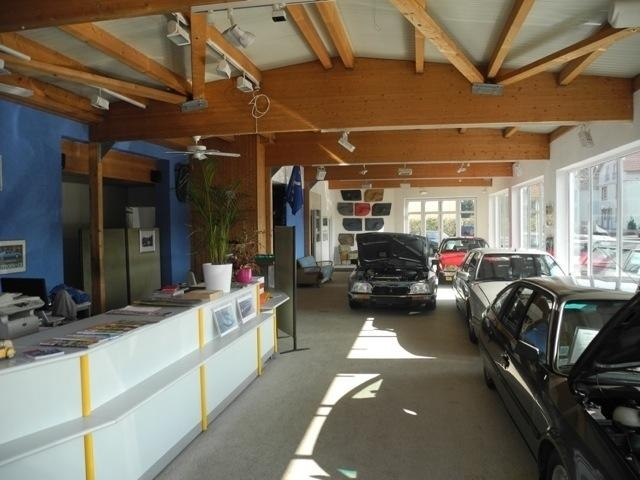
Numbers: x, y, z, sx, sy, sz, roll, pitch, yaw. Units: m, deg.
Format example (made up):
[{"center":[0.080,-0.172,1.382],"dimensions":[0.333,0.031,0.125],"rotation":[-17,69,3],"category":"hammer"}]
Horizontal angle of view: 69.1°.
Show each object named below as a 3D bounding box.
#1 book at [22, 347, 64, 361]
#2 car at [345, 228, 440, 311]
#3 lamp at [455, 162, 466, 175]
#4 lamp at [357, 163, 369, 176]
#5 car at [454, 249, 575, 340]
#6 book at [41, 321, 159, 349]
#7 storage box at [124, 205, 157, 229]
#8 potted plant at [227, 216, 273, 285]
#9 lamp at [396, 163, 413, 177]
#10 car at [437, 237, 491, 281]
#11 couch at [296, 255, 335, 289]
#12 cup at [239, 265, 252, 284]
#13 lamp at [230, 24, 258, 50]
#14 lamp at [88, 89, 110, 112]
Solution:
[{"center":[-1.944,0.783,3.226],"dimensions":[0.321,0.021,0.200],"rotation":[2,6,30],"category":"book"},{"center":[1.340,0.624,8.656],"dimensions":[1.571,1.464,1.356],"rotation":[0,6,8],"category":"car"},{"center":[4.012,-1.988,13.097],"dimensions":[0.216,0.125,0.335],"rotation":[-1,-32,7],"category":"lamp"},{"center":[1.161,-1.898,12.574],"dimensions":[0.205,0.305,0.123],"rotation":[4,-2,36],"category":"lamp"},{"center":[2.654,0.664,6.769],"dimensions":[1.085,0.754,2.232],"rotation":[-1,-4,7],"category":"car"},{"center":[-1.743,0.724,3.626],"dimensions":[0.486,0.048,0.706],"rotation":[2,6,27],"category":"book"},{"center":[-3.365,-0.467,8.746],"dimensions":[0.387,0.484,0.708],"rotation":[3,3,28],"category":"storage box"},{"center":[-0.946,0.244,5.707],"dimensions":[0.397,0.560,0.388],"rotation":[1,2,-21],"category":"potted plant"},{"center":[2.015,-1.732,11.517],"dimensions":[0.526,0.185,0.518],"rotation":[-1,3,20],"category":"lamp"},{"center":[3.499,0.423,11.628],"dimensions":[0.955,0.762,1.719],"rotation":[-1,-2,3],"category":"car"},{"center":[-0.177,0.862,12.480],"dimensions":[0.758,0.746,1.081],"rotation":[1,6,15],"category":"couch"},{"center":[-0.868,0.424,5.544],"dimensions":[0.183,0.183,0.180],"rotation":[-1,2,0],"category":"cup"},{"center":[-0.742,-1.979,4.527],"dimensions":[0.166,0.105,0.273],"rotation":[-32,-49,23],"category":"lamp"},{"center":[-2.936,-1.853,6.130],"dimensions":[0.220,0.266,0.399],"rotation":[-8,12,4],"category":"lamp"}]
